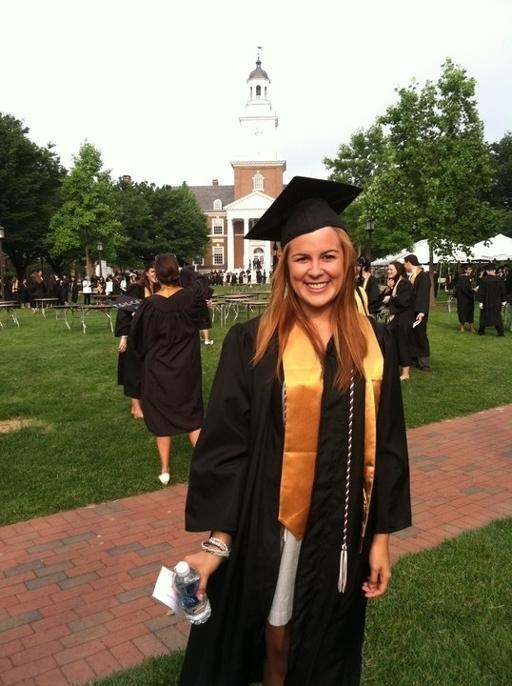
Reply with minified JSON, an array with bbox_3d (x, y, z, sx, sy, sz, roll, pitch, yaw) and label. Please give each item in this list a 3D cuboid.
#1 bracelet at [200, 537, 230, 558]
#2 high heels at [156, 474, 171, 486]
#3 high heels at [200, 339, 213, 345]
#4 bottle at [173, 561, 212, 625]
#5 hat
[{"bbox_3d":[-0.102,0.509,1.302,0.062,0.032,0.055,4,-7,13],"label":"bracelet"},{"bbox_3d":[-0.862,1.259,4.899,0.106,0.106,0.183,-1,3,-12],"label":"high heels"},{"bbox_3d":[-1.274,-0.036,13.685,0.154,0.154,0.352,0,-2,-1],"label":"high heels"},{"bbox_3d":[-0.147,0.585,1.206,0.068,0.202,0.115,0,3,6],"label":"bottle"},{"bbox_3d":[0.149,-0.410,1.670,0.351,0.167,0.341,-11,-14,-29],"label":"hat"}]
